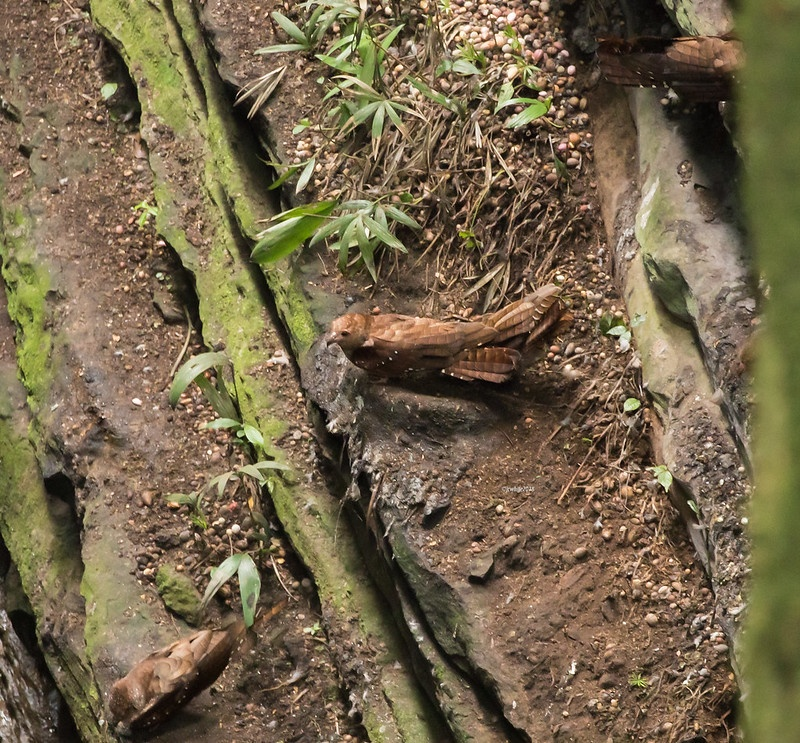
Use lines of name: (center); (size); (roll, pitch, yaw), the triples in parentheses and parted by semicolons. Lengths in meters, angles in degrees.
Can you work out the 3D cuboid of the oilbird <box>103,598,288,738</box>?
oilbird: (-0.760, 1.166, 4.847); (0.789, 0.360, 0.233); (-35, 34, -20)
